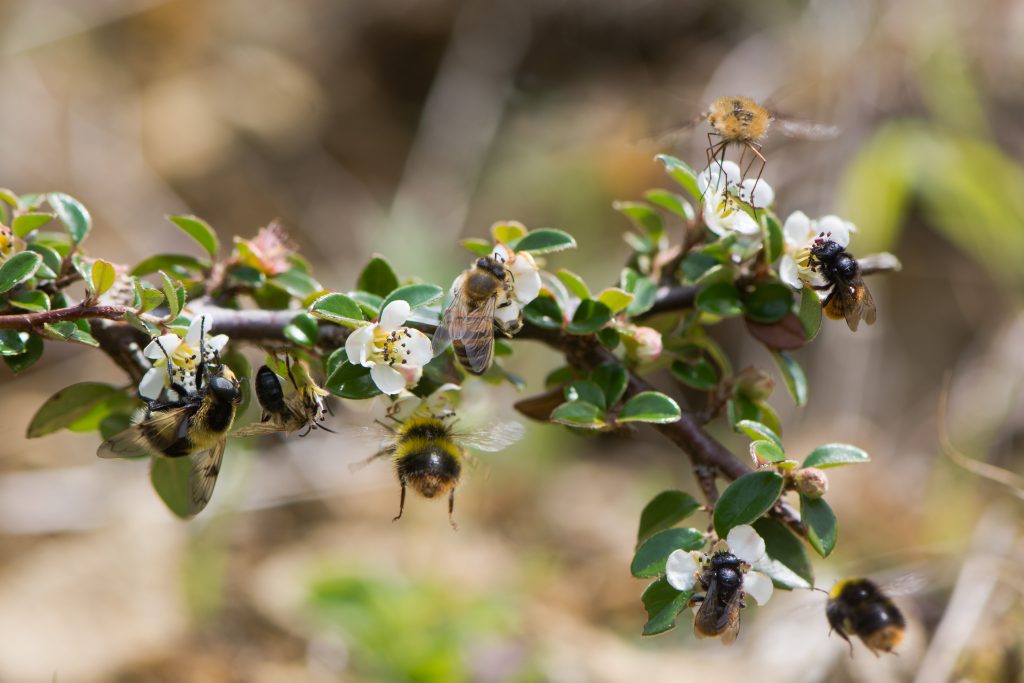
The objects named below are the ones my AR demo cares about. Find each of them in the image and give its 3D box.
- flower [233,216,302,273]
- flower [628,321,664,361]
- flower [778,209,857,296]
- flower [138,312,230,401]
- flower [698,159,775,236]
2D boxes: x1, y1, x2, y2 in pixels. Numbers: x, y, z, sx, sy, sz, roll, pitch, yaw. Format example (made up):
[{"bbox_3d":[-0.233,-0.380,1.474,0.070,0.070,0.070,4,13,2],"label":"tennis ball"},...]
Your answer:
[{"bbox_3d":[-1.390,-0.496,4.873,0.356,0.303,0.183,4,-1,-30],"label":"flower"},{"bbox_3d":[0.707,-0.004,4.452,0.172,0.149,0.135,23,19,31],"label":"flower"},{"bbox_3d":[1.508,-0.497,4.477,0.363,0.393,0.182,-36,-12,-29],"label":"flower"},{"bbox_3d":[-1.627,0.110,4.274,0.415,0.426,0.126,-39,37,-16],"label":"flower"},{"bbox_3d":[1.102,-0.697,4.367,0.338,0.384,0.181,-7,-20,-3],"label":"flower"}]
